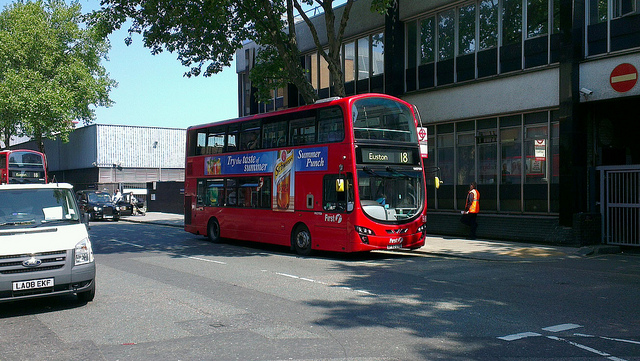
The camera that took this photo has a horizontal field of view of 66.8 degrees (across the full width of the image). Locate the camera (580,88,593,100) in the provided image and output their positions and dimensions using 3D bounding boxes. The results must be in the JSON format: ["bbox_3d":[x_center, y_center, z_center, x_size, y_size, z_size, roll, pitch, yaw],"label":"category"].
[{"bbox_3d":[11.820,-3.858,21.648,0.604,0.499,0.399,1,6,7],"label":"camera"}]

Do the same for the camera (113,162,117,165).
[{"bbox_3d":[-25.547,-2.141,60.435,0.350,0.319,0.104,-4,7,-40],"label":"camera"}]

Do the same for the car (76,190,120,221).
[{"bbox_3d":[-16.077,1.870,35.228,2.459,1.933,4.512,2,-3,-42],"label":"car"}]

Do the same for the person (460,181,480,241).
[{"bbox_3d":[7.385,1.492,23.665,0.681,2.844,1.271,2,6,17],"label":"person"}]

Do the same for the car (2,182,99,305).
[{"bbox_3d":[-7.382,1.762,13.161,2.109,3.226,2.054,-3,6,-28],"label":"car"}]
